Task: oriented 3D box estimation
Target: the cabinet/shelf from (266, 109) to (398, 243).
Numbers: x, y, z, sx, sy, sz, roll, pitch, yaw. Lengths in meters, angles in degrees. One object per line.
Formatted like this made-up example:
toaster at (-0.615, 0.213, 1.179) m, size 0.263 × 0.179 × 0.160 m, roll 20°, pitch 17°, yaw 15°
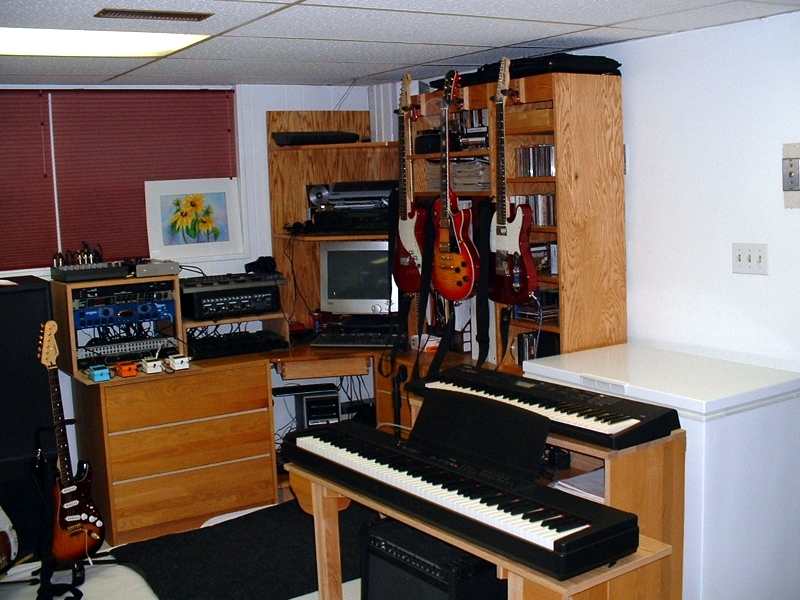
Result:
cabinet/shelf at (-0.513, -0.847, 4.630) m, size 1.090 × 0.977 × 0.537 m, roll -4°, pitch 7°, yaw -31°

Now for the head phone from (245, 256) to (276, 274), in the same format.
head phone at (-0.954, -0.237, 4.546) m, size 0.186 × 0.094 × 0.132 m, roll -4°, pitch 11°, yaw -26°

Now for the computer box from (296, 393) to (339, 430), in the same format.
computer box at (-0.544, 0.737, 4.565) m, size 0.249 × 0.200 × 0.184 m, roll -5°, pitch 4°, yaw -21°

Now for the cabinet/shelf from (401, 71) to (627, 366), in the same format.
cabinet/shelf at (0.685, -0.423, 3.700) m, size 1.092 × 1.572 × 0.499 m, roll 8°, pitch 12°, yaw 34°

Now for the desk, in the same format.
desk at (-0.487, 0.388, 4.318) m, size 0.637 × 0.214 × 0.266 m, roll 1°, pitch 9°, yaw -1°

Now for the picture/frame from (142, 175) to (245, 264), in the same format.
picture/frame at (-1.455, -0.557, 4.593) m, size 0.730 × 0.546 × 0.048 m, roll -2°, pitch -3°, yaw -29°

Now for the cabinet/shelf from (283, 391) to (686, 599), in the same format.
cabinet/shelf at (0.358, 0.735, 2.510) m, size 0.815 × 0.783 × 1.152 m, roll -3°, pitch 6°, yaw -43°

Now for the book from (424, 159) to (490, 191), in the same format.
book at (0.349, -0.711, 3.773) m, size 0.299 × 0.091 × 0.234 m, roll -3°, pitch 5°, yaw -42°

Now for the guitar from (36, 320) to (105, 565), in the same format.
guitar at (-1.824, 0.761, 3.589) m, size 0.370 × 1.289 × 0.250 m, roll 10°, pitch 13°, yaw 40°
